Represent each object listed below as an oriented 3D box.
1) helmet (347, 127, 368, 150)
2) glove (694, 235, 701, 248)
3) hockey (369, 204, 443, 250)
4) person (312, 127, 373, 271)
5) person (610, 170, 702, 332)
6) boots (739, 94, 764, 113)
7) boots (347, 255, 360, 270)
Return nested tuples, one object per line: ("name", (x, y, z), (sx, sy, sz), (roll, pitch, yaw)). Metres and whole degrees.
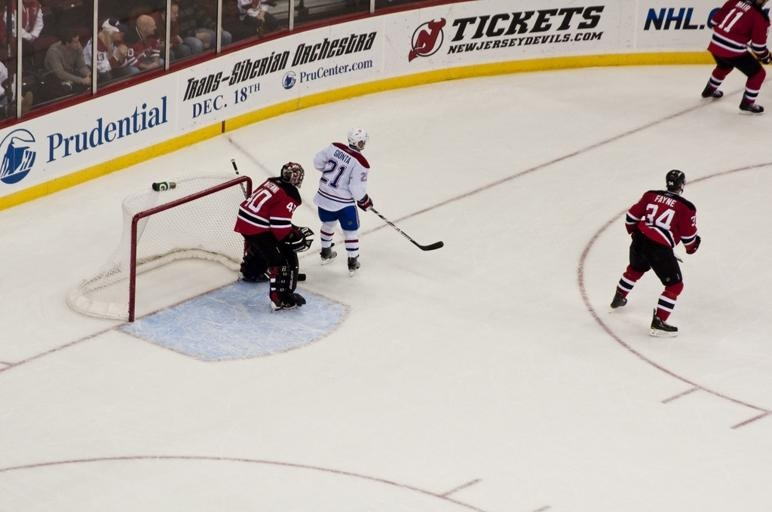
("helmet", (-0.313, -1.233, 10.953), (0.185, 0.312, 0.378), (-1, 24, -2))
("glove", (3.192, -0.143, 10.415), (0.040, 0.136, 0.102), (10, 17, 13))
("hockey", (0.141, -0.355, 11.378), (1.075, 0.083, 0.350), (32, 27, 30))
("person", (-0.460, -0.599, 10.954), (0.654, 1.474, 0.453), (15, 29, 28))
("person", (2.779, -0.061, 10.320), (0.777, 1.553, 0.763), (19, 31, 34))
("boots", (4.801, -2.028, 13.468), (0.427, 0.275, 0.143), (-1, 45, 0))
("boots", (-0.350, 0.081, 10.996), (0.087, 0.115, 0.175), (5, 36, 9))
